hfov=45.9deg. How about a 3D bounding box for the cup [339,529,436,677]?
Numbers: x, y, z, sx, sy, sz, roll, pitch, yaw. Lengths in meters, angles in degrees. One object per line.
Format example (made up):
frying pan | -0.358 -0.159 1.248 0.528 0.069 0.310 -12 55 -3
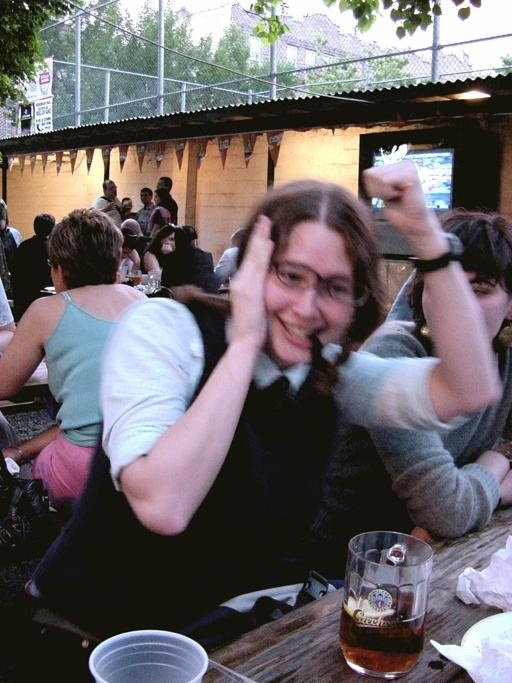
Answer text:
cup | 0.180 0.366 0.852 0.123 0.171 0.158 2 8 9
